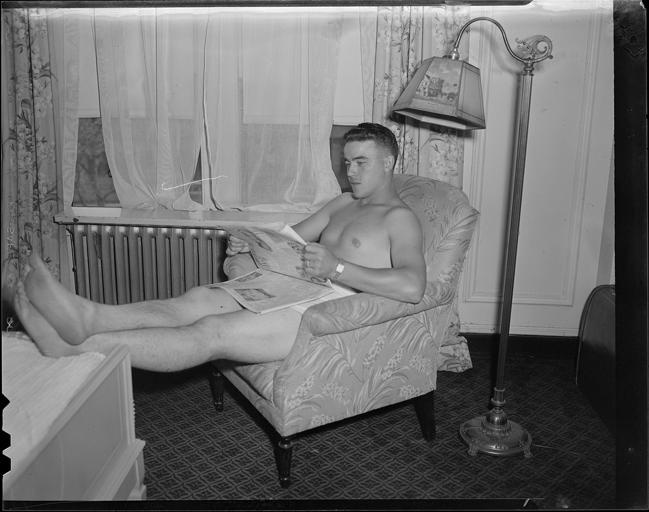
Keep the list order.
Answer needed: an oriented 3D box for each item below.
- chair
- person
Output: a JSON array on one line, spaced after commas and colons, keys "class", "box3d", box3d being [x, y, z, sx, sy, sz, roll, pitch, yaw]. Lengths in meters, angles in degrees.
[{"class": "chair", "box3d": [0.040, 0.138, 2.027, 0.769, 0.874, 0.667, -11, 22, -37]}, {"class": "person", "box3d": [-0.269, 0.087, 1.917, 1.178, 0.726, 0.734, -11, 36, -27]}]
